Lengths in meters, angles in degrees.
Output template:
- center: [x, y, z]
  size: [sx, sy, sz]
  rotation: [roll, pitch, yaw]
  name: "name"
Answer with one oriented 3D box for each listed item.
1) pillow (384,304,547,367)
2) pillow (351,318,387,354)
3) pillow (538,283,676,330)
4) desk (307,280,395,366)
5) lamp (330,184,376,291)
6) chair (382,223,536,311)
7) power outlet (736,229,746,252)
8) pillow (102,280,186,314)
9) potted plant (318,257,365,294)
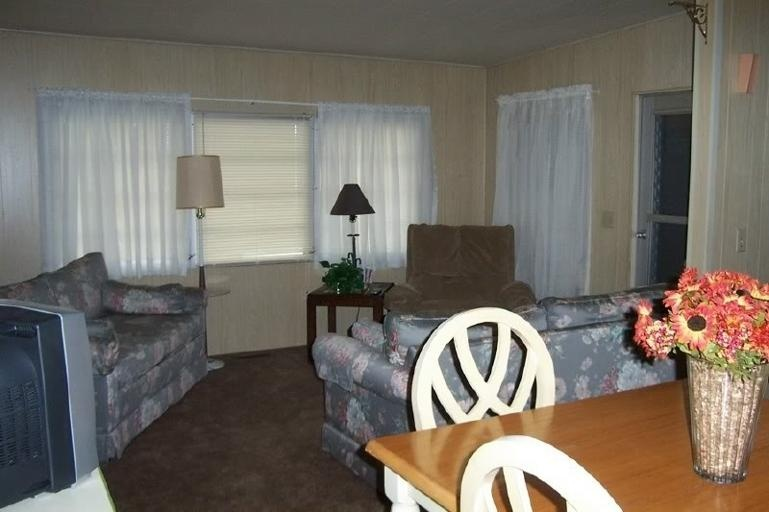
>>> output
- center: [0.402, 0.561, 3.319]
  size: [0.813, 0.329, 0.818]
  rotation: [14, -7, -12]
  name: "pillow"
- center: [-0.088, 0.483, 3.438]
  size: [0.117, 0.080, 0.231]
  rotation: [-13, 18, -13]
  name: "pillow"
- center: [1.197, 0.322, 3.231]
  size: [0.688, 0.237, 0.727]
  rotation: [-7, -7, 37]
  name: "pillow"
- center: [-0.363, 0.656, 5.565]
  size: [0.723, 0.773, 0.759]
  rotation: [-1, 1, 4]
  name: "desk"
- center: [-0.299, -0.231, 5.579]
  size: [0.395, 0.847, 0.397]
  rotation: [-8, -9, 31]
  name: "lamp"
- center: [0.706, 0.136, 5.491]
  size: [1.068, 1.357, 0.963]
  rotation: [0, -4, 5]
  name: "chair"
- center: [2.411, -0.109, 3.782]
  size: [0.109, 0.159, 0.025]
  rotation: [-7, 12, -33]
  name: "power outlet"
- center: [-2.073, 0.359, 4.805]
  size: [0.486, 0.197, 0.319]
  rotation: [-2, 7, -16]
  name: "pillow"
- center: [-0.408, 0.176, 5.455]
  size: [0.362, 0.297, 0.398]
  rotation: [-2, 6, 6]
  name: "potted plant"
